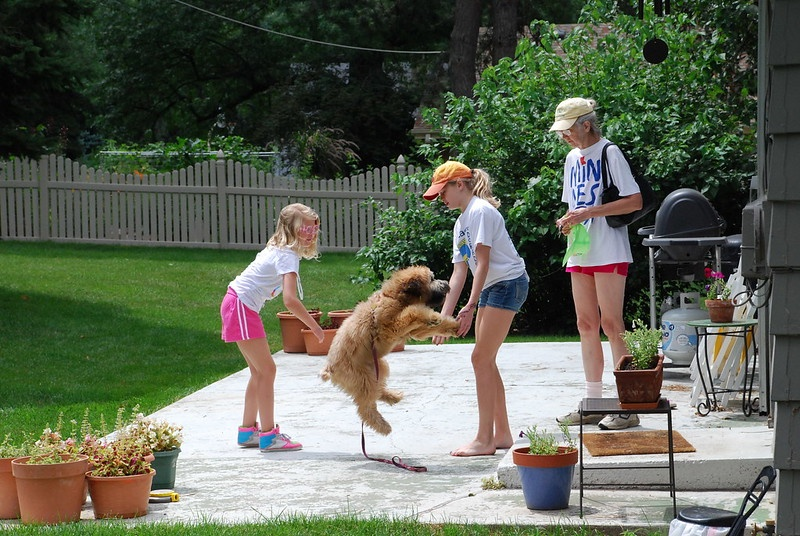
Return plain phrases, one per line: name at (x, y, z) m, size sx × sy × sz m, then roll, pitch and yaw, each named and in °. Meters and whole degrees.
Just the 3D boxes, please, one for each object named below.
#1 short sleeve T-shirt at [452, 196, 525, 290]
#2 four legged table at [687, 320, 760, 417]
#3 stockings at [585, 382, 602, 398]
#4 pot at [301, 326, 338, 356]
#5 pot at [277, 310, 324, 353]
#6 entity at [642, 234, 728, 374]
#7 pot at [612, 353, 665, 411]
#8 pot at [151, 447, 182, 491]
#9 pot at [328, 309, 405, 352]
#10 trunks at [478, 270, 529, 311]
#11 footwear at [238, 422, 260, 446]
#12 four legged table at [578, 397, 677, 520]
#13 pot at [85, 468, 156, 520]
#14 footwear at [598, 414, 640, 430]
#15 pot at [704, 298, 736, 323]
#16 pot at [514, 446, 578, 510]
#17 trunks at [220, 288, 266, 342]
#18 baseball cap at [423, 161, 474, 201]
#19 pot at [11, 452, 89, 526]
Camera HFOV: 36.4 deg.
short sleeve T-shirt at (0.889, -0.246, 12.634) m, size 0.662 × 0.933 × 0.722 m, roll -13°, pitch -5°, yaw -28°
four legged table at (3.575, 1.109, 13.285) m, size 0.858 × 0.947 × 0.838 m, roll -3°, pitch -2°, yaw 40°
stockings at (2.033, 1.266, 12.680) m, size 0.180 × 0.187 × 0.175 m, roll -2°, pitch 4°, yaw -18°
pot at (-1.121, 0.998, 16.264) m, size 0.463 × 0.304 × 0.478 m, roll 0°, pitch -1°, yaw 0°
pot at (-1.399, 0.889, 16.652) m, size 0.599 × 0.462 × 0.597 m, roll 0°, pitch 4°, yaw 0°
entity at (3.629, 0.237, 14.469) m, size 0.847 × 1.009 × 0.830 m, roll -8°, pitch -10°, yaw -35°
pot at (2.383, 1.179, 11.697) m, size 0.432 × 0.351 × 0.717 m, roll -5°, pitch -8°, yaw 33°
pot at (-2.312, 1.987, 12.050) m, size 0.431 × 0.361 × 0.355 m, roll 0°, pitch -4°, yaw -1°
pot at (-0.637, 0.806, 16.490) m, size 0.733 × 0.519 × 0.724 m, roll 0°, pitch -2°, yaw 0°
trunks at (1.109, 0.239, 12.755) m, size 0.527 × 0.493 × 0.714 m, roll 6°, pitch -2°, yaw -16°
footwear at (-1.598, 1.813, 12.968) m, size 0.301 × 0.197 × 0.135 m, roll 0°, pitch 4°, yaw -19°
four legged table at (2.171, 1.789, 11.600) m, size 0.934 × 1.088 × 0.714 m, roll 0°, pitch 1°, yaw 8°
pot at (-2.798, 2.194, 11.901) m, size 0.802 × 0.472 × 0.791 m, roll 1°, pitch 1°, yaw 0°
footwear at (2.258, 1.601, 12.522) m, size 0.452 × 0.207 × 0.155 m, roll 0°, pitch 3°, yaw -9°
pot at (3.370, 0.453, 12.847) m, size 0.261 × 0.190 × 0.260 m, roll 0°, pitch -4°, yaw 0°
pot at (1.364, 1.982, 11.509) m, size 0.585 × 0.436 × 0.564 m, roll 0°, pitch 0°, yaw 0°
trunks at (-1.660, 0.494, 12.874) m, size 0.461 × 0.570 × 0.223 m, roll 0°, pitch 1°, yaw 2°
baseball cap at (0.520, -0.947, 12.722) m, size 0.624 × 0.306 × 0.407 m, roll -15°, pitch -9°, yaw -2°
pot at (-3.302, 2.097, 11.568) m, size 0.651 × 0.475 × 0.644 m, roll 0°, pitch -2°, yaw 0°
